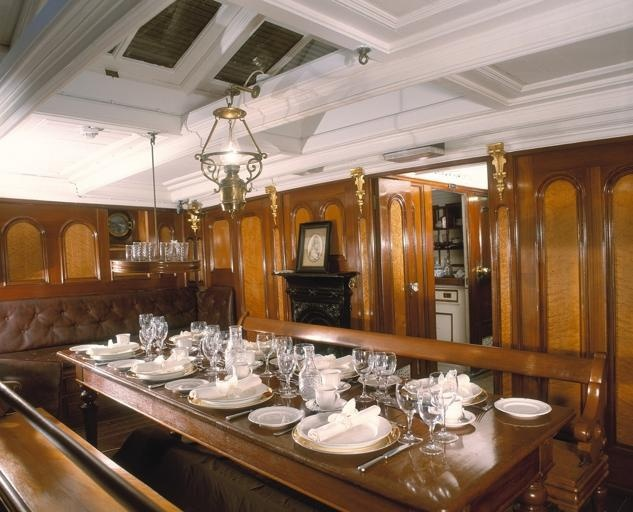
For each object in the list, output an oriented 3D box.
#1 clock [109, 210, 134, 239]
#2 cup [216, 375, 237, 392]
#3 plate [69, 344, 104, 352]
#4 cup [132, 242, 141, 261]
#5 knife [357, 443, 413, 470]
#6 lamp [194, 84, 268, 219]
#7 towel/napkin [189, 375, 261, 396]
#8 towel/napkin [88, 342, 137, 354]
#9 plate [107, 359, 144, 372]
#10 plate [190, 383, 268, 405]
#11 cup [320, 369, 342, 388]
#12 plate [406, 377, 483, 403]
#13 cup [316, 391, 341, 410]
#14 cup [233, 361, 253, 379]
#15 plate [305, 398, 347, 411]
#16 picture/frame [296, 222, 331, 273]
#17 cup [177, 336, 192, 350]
[{"bbox_3d":[-2.542,-0.395,6.121,0.359,0.307,0.346,-1,2,31],"label":"clock"},{"bbox_3d":[-0.457,0.648,2.392,0.091,0.032,0.067,-5,-1,15],"label":"cup"},{"bbox_3d":[-1.778,0.715,3.653,0.211,0.037,0.250,2,-5,-43],"label":"plate"},{"bbox_3d":[-1.127,-0.026,2.973,0.058,0.103,0.037,-3,8,7],"label":"cup"},{"bbox_3d":[0.254,0.765,1.802,0.302,0.012,0.040,-4,8,-40],"label":"knife"},{"bbox_3d":[-0.477,-0.650,2.675,0.508,0.733,0.415,-2,8,-11],"label":"lamp"},{"bbox_3d":[-0.436,0.642,2.408,0.225,0.069,0.113,0,-13,-37],"label":"towel/napkin"},{"bbox_3d":[-1.457,0.676,3.447,0.173,0.030,0.153,1,0,16],"label":"towel/napkin"},{"bbox_3d":[-1.263,0.713,3.125,0.128,0.019,0.123,-2,7,-40],"label":"plate"},{"bbox_3d":[-0.432,0.690,2.350,0.179,0.028,0.188,4,3,42],"label":"plate"},{"bbox_3d":[0.066,0.609,2.356,0.083,0.069,0.099,-1,-4,-19],"label":"cup"},{"bbox_3d":[0.538,0.570,2.009,0.262,0.039,0.243,-2,-1,-9],"label":"plate"},{"bbox_3d":[0.045,0.662,2.238,0.119,0.073,0.094,2,-5,-39],"label":"cup"},{"bbox_3d":[-0.406,0.630,2.590,0.105,0.067,0.078,8,-12,-38],"label":"cup"},{"bbox_3d":[0.044,0.692,2.201,0.108,0.021,0.102,3,-7,-25],"label":"plate"},{"bbox_3d":[-0.028,-0.083,4.932,0.035,0.520,0.518,10,9,40],"label":"picture/frame"},{"bbox_3d":[-0.953,0.625,3.415,0.111,0.070,0.105,0,10,0],"label":"cup"}]
